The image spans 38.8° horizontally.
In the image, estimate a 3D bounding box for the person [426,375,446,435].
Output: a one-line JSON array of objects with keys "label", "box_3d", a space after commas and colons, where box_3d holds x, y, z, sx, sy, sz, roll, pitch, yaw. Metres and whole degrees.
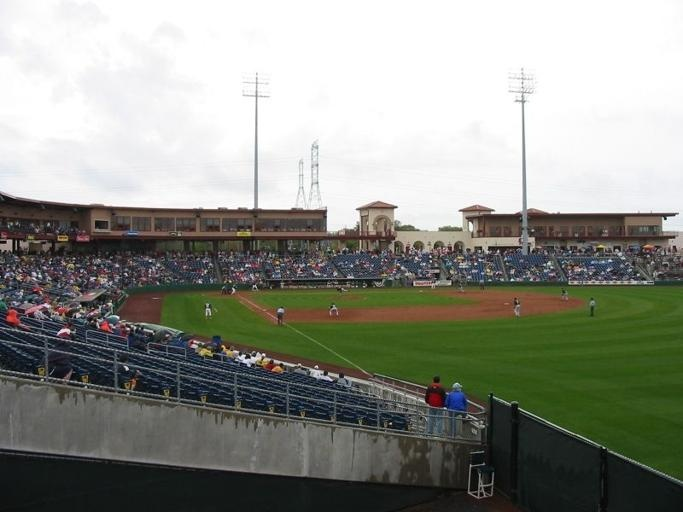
[{"label": "person", "box_3d": [2.945, 4.660, 30.531, 0.595, 1.609, 1.177, 1, 8, 6]}]

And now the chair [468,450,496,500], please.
[{"label": "chair", "box_3d": [4.268, 6.678, 29.818, 0.826, 1.311, 0.800, 1, 8, 8]}]

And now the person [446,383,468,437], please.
[{"label": "person", "box_3d": [3.564, 4.805, 30.378, 0.626, 1.536, 1.032, 0, 8, 6]}]
